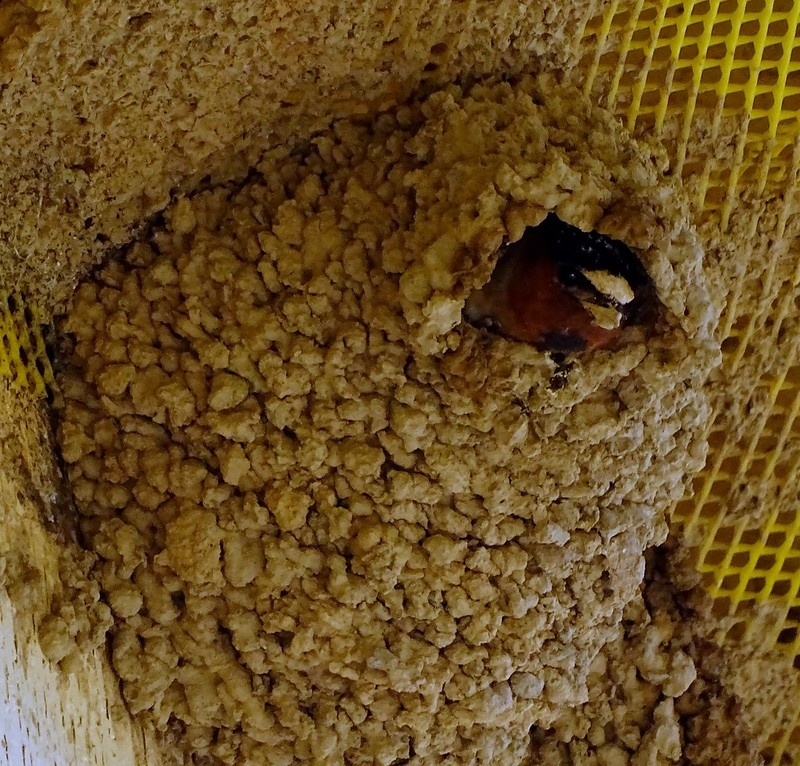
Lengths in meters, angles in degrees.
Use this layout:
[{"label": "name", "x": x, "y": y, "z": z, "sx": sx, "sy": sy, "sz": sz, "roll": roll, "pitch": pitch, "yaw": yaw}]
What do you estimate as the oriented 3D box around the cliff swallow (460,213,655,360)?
[{"label": "cliff swallow", "x": 0.292, "y": -0.162, "z": 3.291, "sx": 0.314, "sy": 0.118, "sz": 0.223, "roll": 22, "pitch": 85, "yaw": 6}]
